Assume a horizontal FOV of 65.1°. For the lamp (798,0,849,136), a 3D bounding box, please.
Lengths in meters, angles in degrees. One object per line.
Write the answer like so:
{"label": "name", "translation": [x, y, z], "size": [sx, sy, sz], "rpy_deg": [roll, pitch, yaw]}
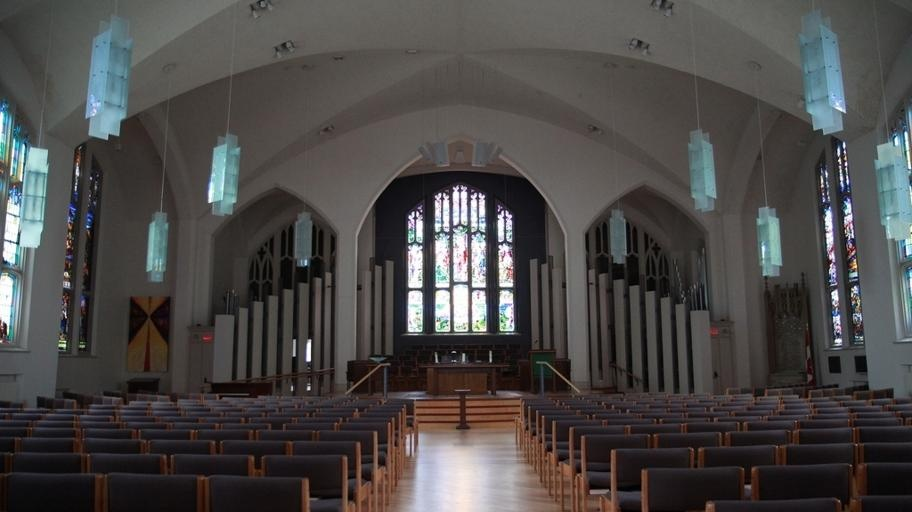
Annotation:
{"label": "lamp", "translation": [8.177, -4.135, 15.952], "size": [0.731, 2.687, 0.654], "rpy_deg": [-6, -14, 24]}

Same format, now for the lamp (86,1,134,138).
{"label": "lamp", "translation": [-7.758, -4.163, 16.038], "size": [0.805, 3.016, 0.663], "rpy_deg": [8, -15, -29]}

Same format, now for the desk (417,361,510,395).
{"label": "desk", "translation": [0.186, 4.407, 25.306], "size": [2.373, 1.097, 2.519], "rpy_deg": [1, -14, -4]}
